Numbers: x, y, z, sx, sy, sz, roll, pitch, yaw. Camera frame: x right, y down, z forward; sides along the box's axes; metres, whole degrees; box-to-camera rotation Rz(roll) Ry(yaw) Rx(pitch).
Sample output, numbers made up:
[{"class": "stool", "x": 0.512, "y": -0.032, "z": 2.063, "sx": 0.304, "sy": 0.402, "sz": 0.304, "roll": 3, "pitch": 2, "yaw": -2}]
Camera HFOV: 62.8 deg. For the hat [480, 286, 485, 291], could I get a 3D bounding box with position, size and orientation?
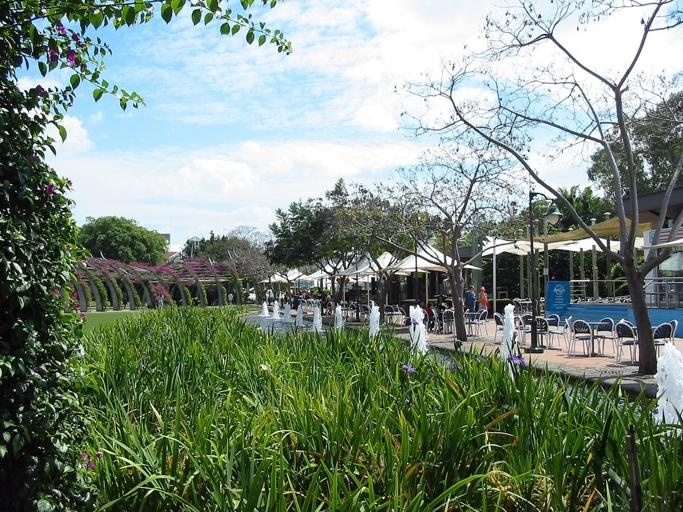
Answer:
[{"class": "hat", "x": 6.068, "y": 1.354, "z": 24.100, "sx": 0.235, "sy": 0.204, "sz": 0.334, "roll": -3, "pitch": -1, "yaw": 5}]
